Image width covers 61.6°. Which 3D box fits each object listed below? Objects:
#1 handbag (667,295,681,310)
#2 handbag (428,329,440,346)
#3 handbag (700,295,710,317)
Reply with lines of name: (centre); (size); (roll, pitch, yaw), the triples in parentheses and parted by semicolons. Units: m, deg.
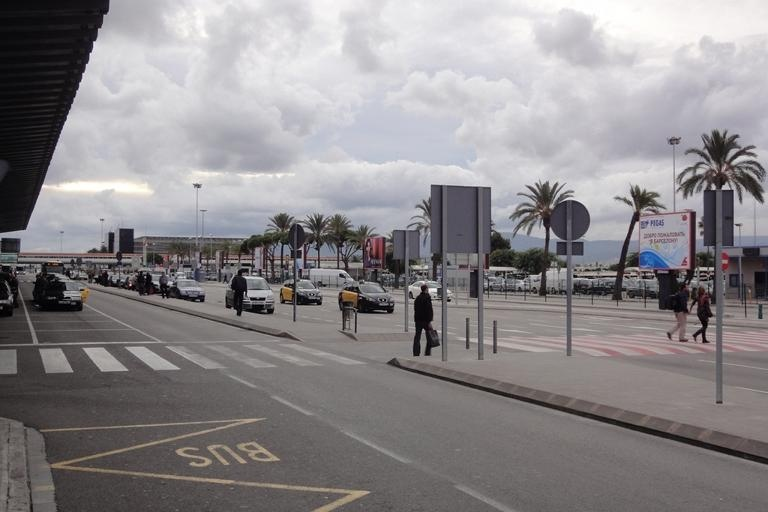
handbag: (10.609, 1.733, 23.674); (0.302, 0.557, 0.595); (2, -3, 0)
handbag: (1.472, 2.461, 18.993); (0.268, 0.603, 0.814); (1, -3, 7)
handbag: (11.477, 1.841, 23.080); (0.298, 0.784, 0.853); (1, -3, 16)
